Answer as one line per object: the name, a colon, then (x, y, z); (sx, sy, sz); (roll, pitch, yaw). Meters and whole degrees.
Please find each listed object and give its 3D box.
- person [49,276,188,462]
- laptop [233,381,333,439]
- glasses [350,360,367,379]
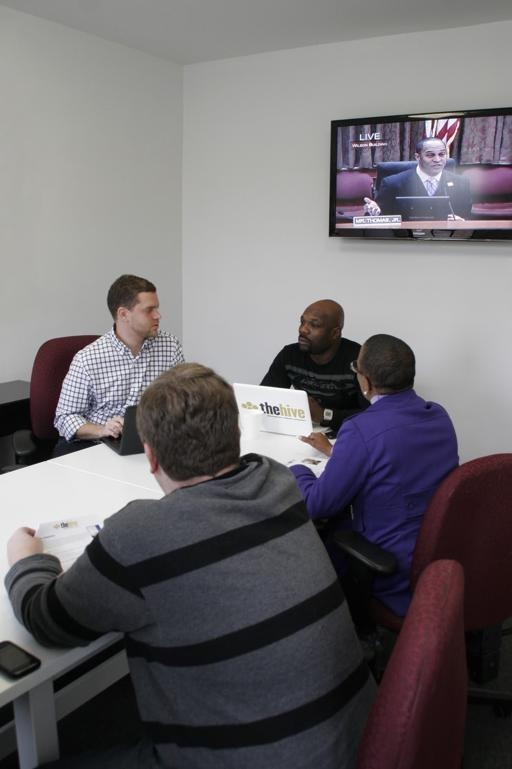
person: (-0.550, -0.011, 2.582); (0.594, 0.825, 0.515); (-3, 16, -45)
laptop: (0.062, 0.091, 2.321); (0.293, 0.186, 0.214); (5, 16, 35)
glasses: (0.320, -0.040, 1.846); (0.019, 0.065, 0.063); (-2, 15, -19)
